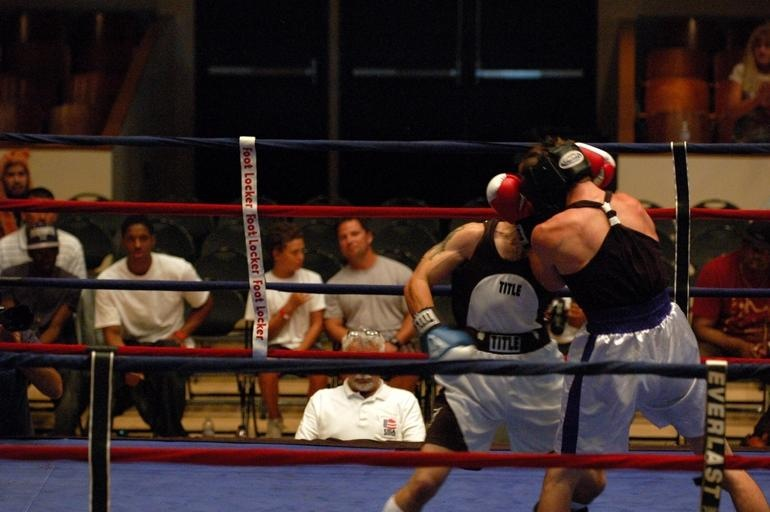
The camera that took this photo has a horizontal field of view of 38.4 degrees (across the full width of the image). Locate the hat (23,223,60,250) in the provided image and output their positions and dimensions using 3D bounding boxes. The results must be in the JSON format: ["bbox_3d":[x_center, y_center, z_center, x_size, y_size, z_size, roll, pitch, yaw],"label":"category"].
[{"bbox_3d":[-2.479,-0.141,8.028,0.222,0.115,0.206,-3,-1,8],"label":"hat"}]

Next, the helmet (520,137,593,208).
[{"bbox_3d":[0.908,-0.485,6.287,0.346,0.381,0.426,-12,24,-43],"label":"helmet"}]

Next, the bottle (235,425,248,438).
[{"bbox_3d":[-1.025,1.261,7.963,0.091,0.078,0.088,2,-3,2],"label":"bottle"}]

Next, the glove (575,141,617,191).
[{"bbox_3d":[1.233,-0.500,6.305,0.117,0.296,0.218,-36,27,21],"label":"glove"}]

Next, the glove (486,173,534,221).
[{"bbox_3d":[0.761,-0.345,6.367,0.370,0.258,0.251,1,10,9],"label":"glove"}]

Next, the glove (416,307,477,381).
[{"bbox_3d":[0.323,0.453,6.207,0.249,0.105,0.313,-20,36,-30],"label":"glove"}]
